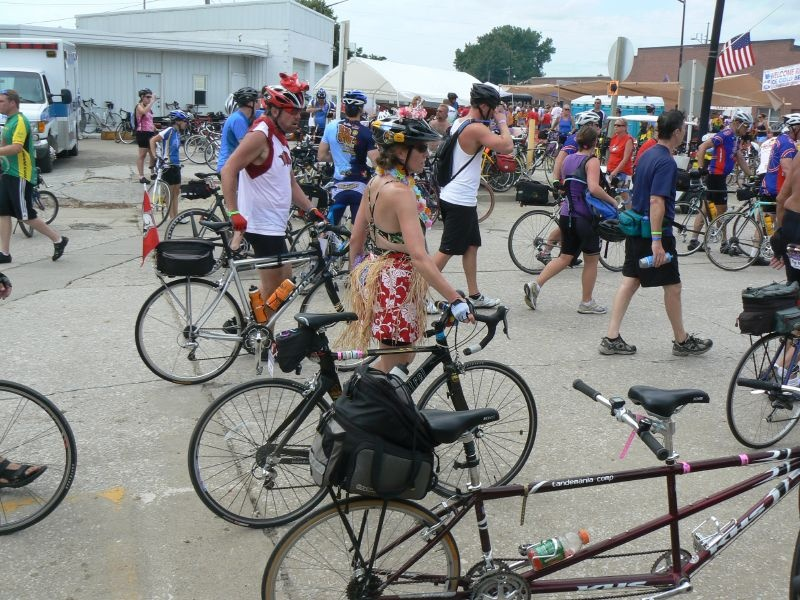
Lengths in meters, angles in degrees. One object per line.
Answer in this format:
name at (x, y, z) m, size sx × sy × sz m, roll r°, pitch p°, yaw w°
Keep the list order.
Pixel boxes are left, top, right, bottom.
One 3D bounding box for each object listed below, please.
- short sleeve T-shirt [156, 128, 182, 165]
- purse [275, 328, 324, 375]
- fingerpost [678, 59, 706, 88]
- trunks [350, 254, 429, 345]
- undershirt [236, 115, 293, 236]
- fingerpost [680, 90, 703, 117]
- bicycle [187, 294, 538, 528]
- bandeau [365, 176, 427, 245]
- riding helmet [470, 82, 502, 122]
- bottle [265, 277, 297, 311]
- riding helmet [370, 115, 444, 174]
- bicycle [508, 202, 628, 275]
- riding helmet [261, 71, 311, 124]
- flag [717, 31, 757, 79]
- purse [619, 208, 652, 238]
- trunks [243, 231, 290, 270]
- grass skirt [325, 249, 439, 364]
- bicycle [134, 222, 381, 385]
short sleeve T-shirt at (-3.795, -2.589, 12.632) m, size 0.581 × 0.602 × 0.323 m, roll -2°, pitch 17°, yaw -41°
purse at (-0.593, 0.271, 4.256) m, size 0.274 × 0.245 × 0.118 m, roll -4°, pitch 21°, yaw -17°
fingerpost at (6.073, -4.763, 15.772) m, size 0.585 × 0.541 × 0.205 m, roll 9°, pitch 28°, yaw 12°
trunks at (-0.080, 0.025, 5.131) m, size 0.548 × 0.650 × 0.644 m, roll 3°, pitch 5°, yaw 12°
undershirt at (-1.149, -1.111, 6.643) m, size 0.537 × 0.942 × 0.624 m, roll 8°, pitch 18°, yaw 12°
fingerpost at (6.323, -4.341, 16.285) m, size 0.089 × 0.712 × 0.740 m, roll -20°, pitch 27°, yaw -19°
bicycle at (-0.162, 0.720, 4.784) m, size 2.383 × 1.246 × 0.875 m, roll -2°, pitch -3°, yaw -23°
bandeau at (0.027, -0.630, 5.083) m, size 0.409 × 0.507 × 0.282 m, roll 15°, pitch 0°, yaw 25°
riding helmet at (0.848, -2.001, 7.595) m, size 0.288 × 0.362 × 0.238 m, roll 4°, pitch 15°, yaw 5°
bottle at (-0.866, -0.025, 5.617) m, size 0.119 × 0.297 × 0.171 m, roll 31°, pitch 18°, yaw -46°
riding helmet at (0.038, -1.072, 4.946) m, size 0.493 × 0.402 × 0.449 m, roll 22°, pitch 24°, yaw 36°
bicycle at (2.389, -0.943, 10.069) m, size 1.958 × 1.136 × 0.858 m, roll -1°, pitch 1°, yaw -8°
riding helmet at (-0.997, -1.765, 6.361) m, size 0.422 × 0.330 × 0.342 m, roll 21°, pitch 16°, yaw 27°
flag at (8.782, -6.478, 19.827) m, size 0.846 × 1.021 × 1.538 m, roll 8°, pitch 15°, yaw 19°
purse at (2.174, -0.710, 7.055) m, size 0.223 × 0.261 × 0.289 m, roll -13°, pitch 32°, yaw -37°
trunks at (-1.134, -0.424, 6.519) m, size 0.379 × 0.281 × 0.301 m, roll -5°, pitch 20°, yaw -18°
grass skirt at (-0.072, -0.130, 5.112) m, size 0.567 × 0.770 × 0.691 m, roll 5°, pitch 42°, yaw 6°
bicycle at (-1.098, -0.008, 6.517) m, size 2.444 × 1.352 × 0.996 m, roll -2°, pitch -7°, yaw -32°
